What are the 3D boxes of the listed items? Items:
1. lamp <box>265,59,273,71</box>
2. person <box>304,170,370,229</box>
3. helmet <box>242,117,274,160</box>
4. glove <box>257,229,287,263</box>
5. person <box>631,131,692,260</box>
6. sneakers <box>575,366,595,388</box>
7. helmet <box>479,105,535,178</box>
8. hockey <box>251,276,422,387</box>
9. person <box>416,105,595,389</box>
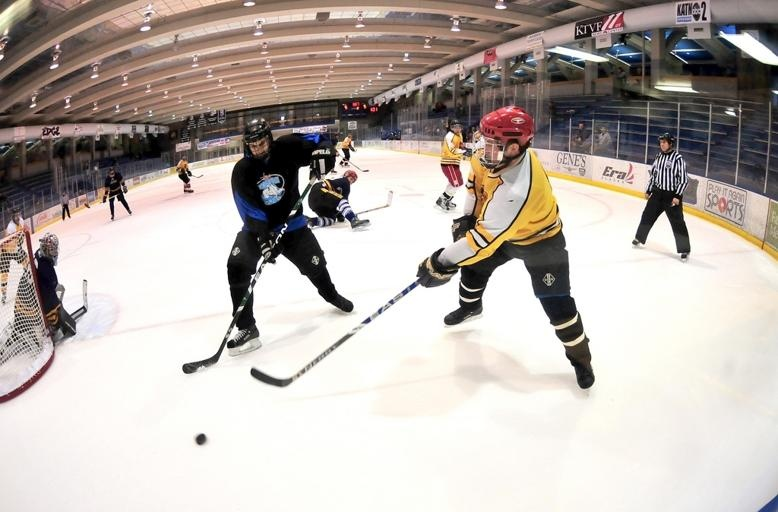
[{"bbox_3d":[-5.359,-8.542,21.970,0.286,0.291,0.281,-2,2,-26],"label":"lamp"},{"bbox_3d":[-0.857,-0.965,8.340,1.361,1.080,0.529,-2,-14,21],"label":"person"},{"bbox_3d":[-1.168,-1.035,4.363,0.269,0.334,0.271,-9,18,-14],"label":"helmet"},{"bbox_3d":[-1.028,-0.063,4.400,0.257,0.087,0.273,-39,42,5],"label":"glove"},{"bbox_3d":[3.531,-0.792,6.276,0.656,1.434,0.897,5,20,28],"label":"person"},{"bbox_3d":[1.500,0.925,3.735,0.101,0.181,0.077,-8,-17,11],"label":"sneakers"},{"bbox_3d":[0.778,-0.825,3.574,0.465,0.439,0.362,0,27,7],"label":"helmet"},{"bbox_3d":[-0.469,0.712,4.493,1.646,0.282,0.086,-28,34,-23],"label":"hockey"},{"bbox_3d":[0.948,-0.061,3.823,1.307,1.997,1.116,16,31,33],"label":"person"}]
